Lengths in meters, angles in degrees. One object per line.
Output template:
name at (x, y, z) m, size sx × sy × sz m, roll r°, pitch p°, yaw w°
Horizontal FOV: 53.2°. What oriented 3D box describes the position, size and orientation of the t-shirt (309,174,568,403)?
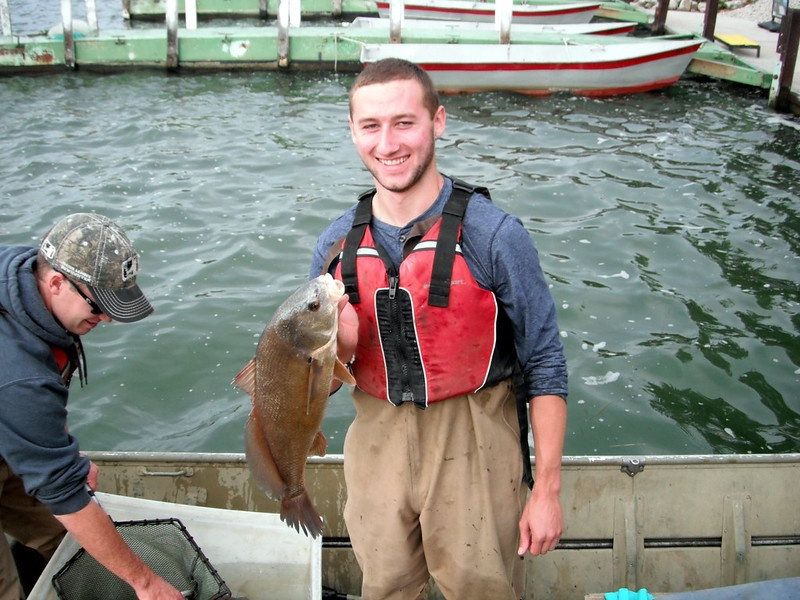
t-shirt at (0.179, -0.057, 5.571) m, size 2.007 × 1.637 × 0.688 m, roll 3°, pitch 28°, yaw 22°
